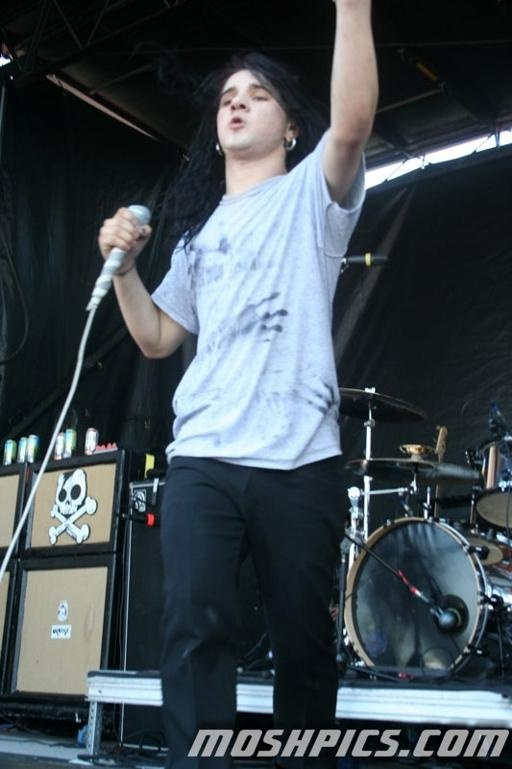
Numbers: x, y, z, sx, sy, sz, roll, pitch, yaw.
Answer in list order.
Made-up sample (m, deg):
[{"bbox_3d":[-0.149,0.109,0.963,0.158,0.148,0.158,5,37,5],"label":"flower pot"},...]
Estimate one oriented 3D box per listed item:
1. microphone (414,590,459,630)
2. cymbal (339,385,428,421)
[{"bbox_3d":[0.615,0.775,2.399,0.166,0.082,0.080,46,5,13],"label":"microphone"},{"bbox_3d":[0.543,0.102,3.130,0.324,0.172,0.387,2,-4,-40],"label":"cymbal"}]
